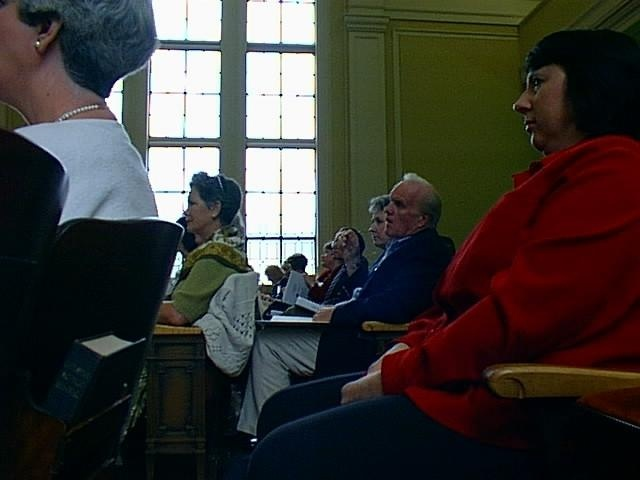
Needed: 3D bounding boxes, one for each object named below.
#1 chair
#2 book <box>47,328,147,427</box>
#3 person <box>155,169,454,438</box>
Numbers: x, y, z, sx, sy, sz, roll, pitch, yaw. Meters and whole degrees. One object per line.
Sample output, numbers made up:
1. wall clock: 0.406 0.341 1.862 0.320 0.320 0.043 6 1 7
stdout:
1. chair: -0.005 0.182 1.243 0.966 0.357 0.713 6 -1 -14
2. book: -0.317 0.187 0.919 0.049 0.145 0.145 18 9 17
3. person: 0.015 0.396 3.642 1.142 1.944 0.838 9 -11 6
